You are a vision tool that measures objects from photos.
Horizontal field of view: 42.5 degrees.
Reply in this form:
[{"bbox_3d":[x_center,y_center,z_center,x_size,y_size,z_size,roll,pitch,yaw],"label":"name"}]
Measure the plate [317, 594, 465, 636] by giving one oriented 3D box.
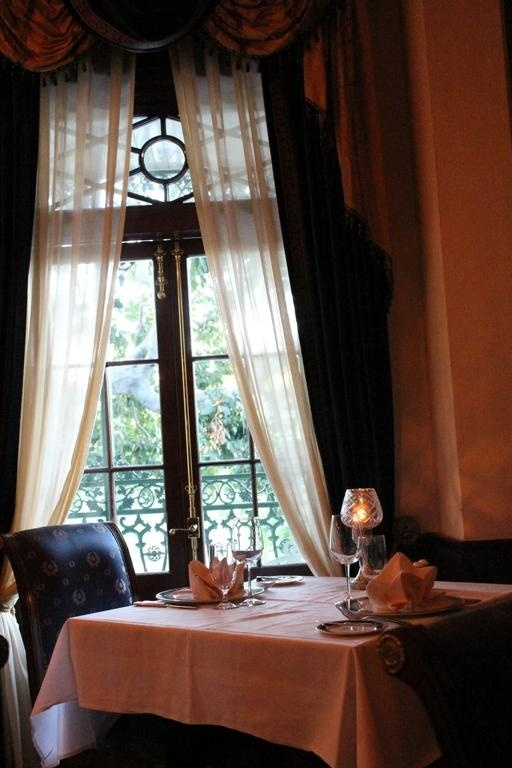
[{"bbox_3d":[0.242,0.452,1.278,0.204,0.018,0.124,-5,4,-43],"label":"plate"}]
